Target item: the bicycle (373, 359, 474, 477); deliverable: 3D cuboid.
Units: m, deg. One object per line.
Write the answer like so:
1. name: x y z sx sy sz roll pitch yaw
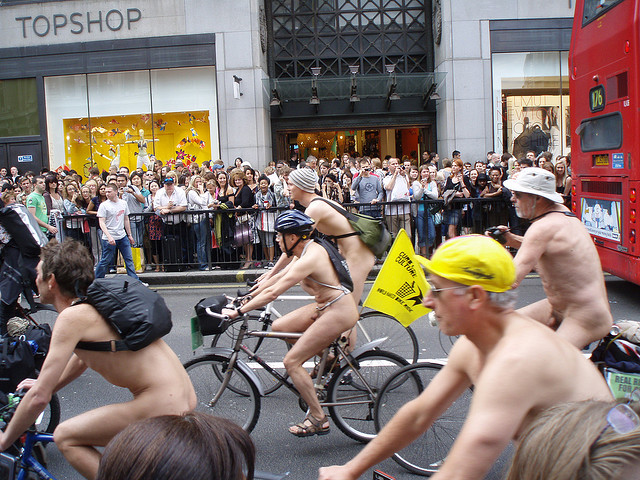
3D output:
1. bicycle: 0.886 1.549 6.242 0.869 0.916 0.469 1 4 13

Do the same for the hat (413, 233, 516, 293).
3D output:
1. hat: 0.927 0.144 4.506 0.582 0.352 0.470 0 3 25

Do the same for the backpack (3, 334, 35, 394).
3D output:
1. backpack: -2.551 1.072 5.984 0.309 0.471 0.228 -2 -14 -9

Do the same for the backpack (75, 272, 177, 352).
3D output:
1. backpack: -1.541 0.537 5.406 0.771 0.534 0.763 -3 5 -1

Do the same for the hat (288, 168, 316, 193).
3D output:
1. hat: -0.198 -0.626 7.568 0.253 0.244 0.217 -5 35 4

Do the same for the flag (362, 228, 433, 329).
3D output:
1. flag: 0.830 0.403 7.254 0.892 1.183 0.063 10 25 28

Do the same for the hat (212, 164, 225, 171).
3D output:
1. hat: -2.414 -1.717 16.699 0.165 0.106 0.242 1 15 14

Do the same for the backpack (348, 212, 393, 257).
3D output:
1. backpack: 0.573 0.020 7.741 0.340 0.593 0.577 -1 -23 -9

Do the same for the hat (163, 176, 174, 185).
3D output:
1. hat: -2.833 -1.110 13.236 0.186 0.152 0.295 -2 5 -12

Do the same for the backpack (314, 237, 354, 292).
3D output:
1. backpack: 0.123 0.226 6.584 0.351 0.490 0.215 0 4 0

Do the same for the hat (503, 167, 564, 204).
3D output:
1. hat: 1.881 -0.513 6.153 0.362 0.189 0.410 -8 -2 5
